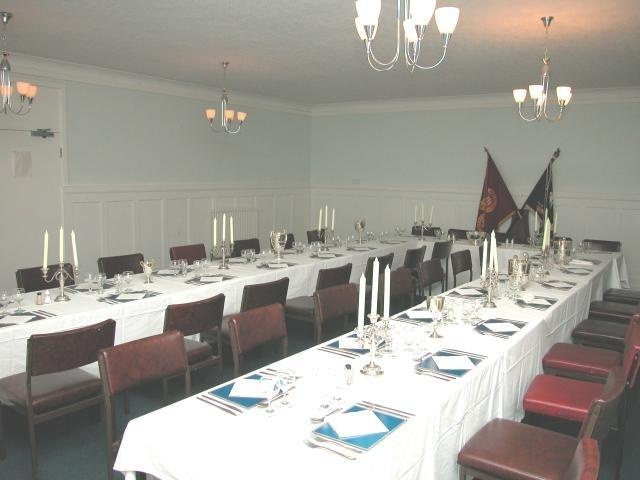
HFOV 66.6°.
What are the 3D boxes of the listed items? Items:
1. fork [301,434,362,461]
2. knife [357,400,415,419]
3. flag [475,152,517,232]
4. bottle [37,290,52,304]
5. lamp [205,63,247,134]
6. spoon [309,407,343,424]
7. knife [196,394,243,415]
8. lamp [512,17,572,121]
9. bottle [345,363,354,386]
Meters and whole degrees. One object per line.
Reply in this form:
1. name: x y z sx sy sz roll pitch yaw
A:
1. fork: 0.059 1.028 2.425 0.267 0.034 0.099 14 23 27
2. knife: 0.373 0.948 2.726 0.182 0.021 0.061 8 11 32
3. flag: 3.607 -0.982 9.898 0.751 1.666 0.488 3 11 18
4. bottle: -2.559 0.533 4.502 0.111 0.144 0.132 -2 11 -27
5. lamp: -1.618 -2.446 8.363 0.587 1.205 0.669 0 3 -21
6. spoon: 0.020 0.954 2.666 0.058 0.047 0.200 14 15 34
7. knife: -0.556 0.931 2.743 0.338 0.011 0.094 9 22 41
8. lamp: 2.810 -2.140 6.082 0.605 1.240 0.640 3 5 13
9. bottle: 0.177 0.806 2.944 0.042 0.145 0.079 1 10 4
